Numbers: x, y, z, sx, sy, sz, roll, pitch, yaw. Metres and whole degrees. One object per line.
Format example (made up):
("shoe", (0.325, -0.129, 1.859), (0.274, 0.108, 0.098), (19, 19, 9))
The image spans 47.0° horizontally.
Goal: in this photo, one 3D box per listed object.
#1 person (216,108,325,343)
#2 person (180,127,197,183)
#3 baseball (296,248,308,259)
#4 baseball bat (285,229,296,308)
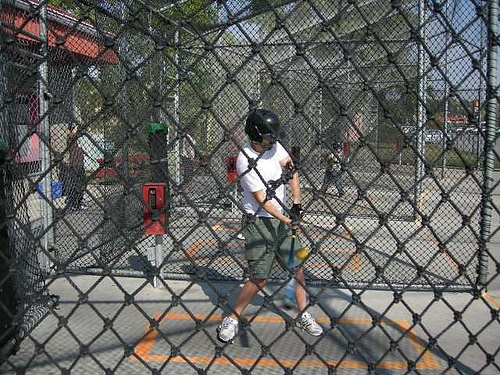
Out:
("person", (0.226, 0.461, 6.477), (1.133, 2.777, 0.856), (-1, 16, 3))
("person", (-1.296, -0.646, 11.935), (0.233, 1.101, 0.242), (1, 3, -5))
("baseball", (0.568, 0.726, 6.364), (0.107, 0.127, 0.108), (41, -4, 1))
("baseball bat", (0.476, 0.856, 6.598), (0.111, 0.961, 0.121), (7, 13, 17))
